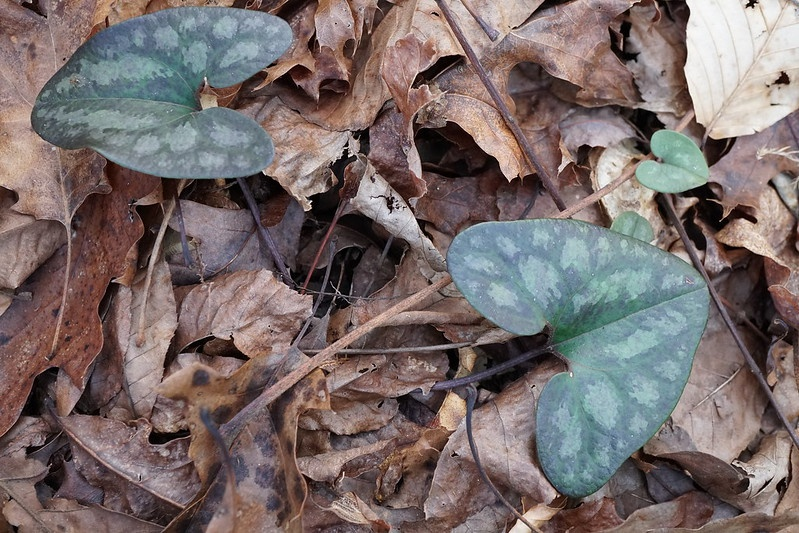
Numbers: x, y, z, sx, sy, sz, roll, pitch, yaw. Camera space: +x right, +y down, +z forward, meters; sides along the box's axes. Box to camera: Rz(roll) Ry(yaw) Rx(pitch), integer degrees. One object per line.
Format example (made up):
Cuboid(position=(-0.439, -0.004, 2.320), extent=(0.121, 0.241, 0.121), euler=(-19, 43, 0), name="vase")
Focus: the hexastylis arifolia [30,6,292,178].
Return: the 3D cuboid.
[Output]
Cuboid(position=(-0.578, -0.423, 2.023), extent=(0.551, 0.121, 0.429), euler=(4, 71, -6), name="hexastylis arifolia")
